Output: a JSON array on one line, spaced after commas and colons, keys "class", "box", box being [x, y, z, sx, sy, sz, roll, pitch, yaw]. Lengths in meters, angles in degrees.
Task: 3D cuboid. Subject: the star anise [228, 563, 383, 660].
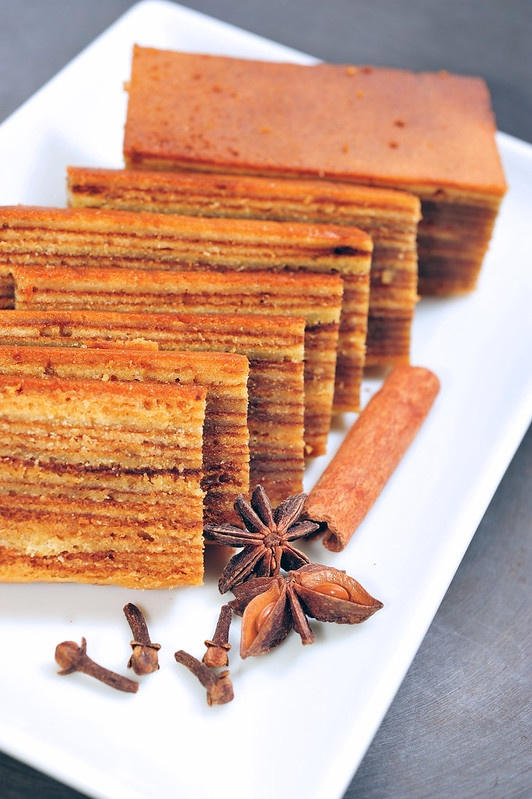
[{"class": "star anise", "box": [0.068, 0.397, 1.866, 0.288, 0.082, 0.189, -11, 38, -9]}]

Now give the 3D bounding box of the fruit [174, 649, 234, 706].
[{"class": "fruit", "box": [-0.123, 0.529, 1.776, 0.056, 0.043, 0.121, -42, 36, -12]}]

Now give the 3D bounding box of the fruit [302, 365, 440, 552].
[{"class": "fruit", "box": [0.245, 0.093, 2.222, 0.183, 0.153, 0.569, 24, 60, 21]}]

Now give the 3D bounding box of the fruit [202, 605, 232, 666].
[{"class": "fruit", "box": [-0.088, 0.467, 1.839, 0.056, 0.039, 0.146, 11, 43, 1]}]

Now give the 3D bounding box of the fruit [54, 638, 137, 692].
[{"class": "fruit", "box": [-0.329, 0.522, 1.778, 0.163, 0.026, 0.076, 23, 53, 20]}]

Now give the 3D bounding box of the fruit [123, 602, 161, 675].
[{"class": "fruit", "box": [-0.244, 0.469, 1.812, 0.055, 0.060, 0.130, 0, 44, -25]}]
